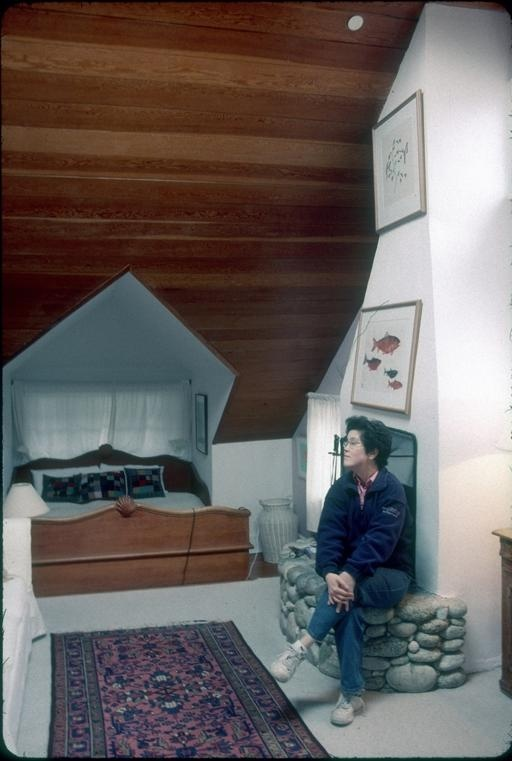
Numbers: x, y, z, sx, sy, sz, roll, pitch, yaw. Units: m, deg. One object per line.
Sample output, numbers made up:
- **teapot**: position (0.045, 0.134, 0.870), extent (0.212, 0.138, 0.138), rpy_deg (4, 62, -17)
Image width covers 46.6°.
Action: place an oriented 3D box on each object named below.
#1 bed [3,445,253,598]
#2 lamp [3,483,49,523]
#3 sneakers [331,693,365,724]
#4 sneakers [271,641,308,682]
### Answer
- **bed**: position (-1.066, 1.053, 4.975), extent (1.987, 0.905, 2.212), rpy_deg (2, -4, -41)
- **lamp**: position (-1.476, 0.767, 3.744), extent (0.250, 0.173, 0.243), rpy_deg (-11, -2, 22)
- **sneakers**: position (0.357, 1.283, 2.314), extent (0.062, 0.080, 0.184), rpy_deg (-9, -20, 25)
- **sneakers**: position (0.148, 1.125, 2.383), extent (0.090, 0.086, 0.213), rpy_deg (36, 20, 9)
